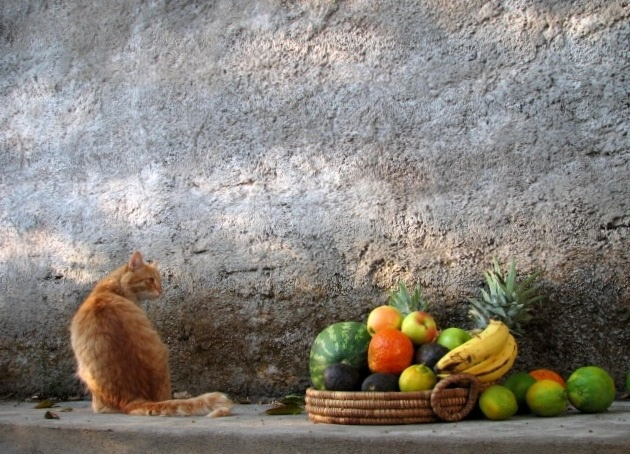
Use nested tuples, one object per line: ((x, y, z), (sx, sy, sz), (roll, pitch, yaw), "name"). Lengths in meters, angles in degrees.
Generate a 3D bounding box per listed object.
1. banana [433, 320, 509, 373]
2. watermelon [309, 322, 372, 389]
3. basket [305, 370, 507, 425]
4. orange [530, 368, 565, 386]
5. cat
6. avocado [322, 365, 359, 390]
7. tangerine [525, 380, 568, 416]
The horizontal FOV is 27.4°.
((0.903, 0.679, 7.125), (0.548, 0.182, 0.141), (-33, 2, -16), "banana")
((0.161, 0.756, 7.349), (0.294, 0.388, 0.316), (-9, -9, 36), "watermelon")
((0.432, 0.952, 7.056), (0.987, 0.252, 0.256), (-4, -7, 7), "basket")
((1.306, 0.846, 7.328), (0.119, 0.119, 0.119), (7, -9, -40), "orange")
((-0.987, 0.716, 7.461), (0.673, 0.806, 1.511), (-9, 25, -22), "cat")
((0.143, 0.827, 7.110), (0.160, 0.126, 0.124), (6, 5, -3), "avocado")
((1.280, 0.937, 7.207), (0.231, 0.185, 0.233), (-7, 0, 35), "tangerine")
